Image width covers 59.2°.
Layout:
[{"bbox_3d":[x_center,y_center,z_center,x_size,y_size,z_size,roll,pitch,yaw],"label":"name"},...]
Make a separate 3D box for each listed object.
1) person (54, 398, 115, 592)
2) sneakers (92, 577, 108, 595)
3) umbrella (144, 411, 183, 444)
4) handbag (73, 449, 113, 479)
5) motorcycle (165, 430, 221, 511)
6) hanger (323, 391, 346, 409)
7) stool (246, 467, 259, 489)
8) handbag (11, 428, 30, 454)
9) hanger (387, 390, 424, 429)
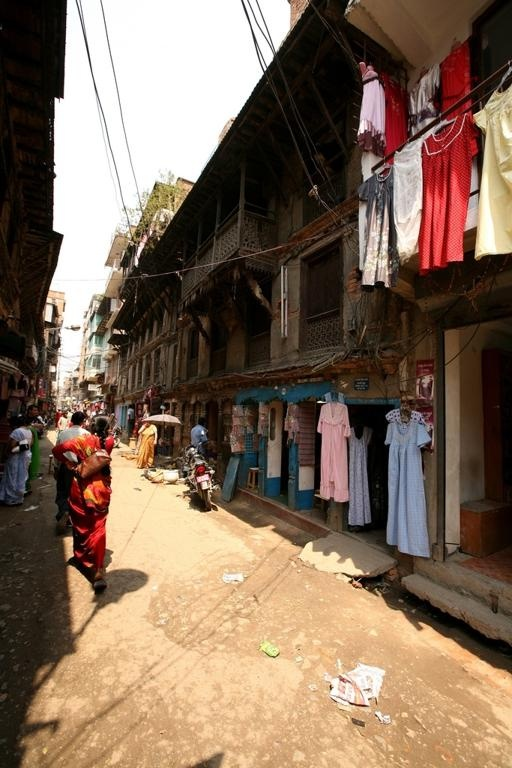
[{"bbox_3d":[-1.909,1.241,5.000,0.556,1.800,1.275,4,-1,-19],"label":"person"},{"bbox_3d":[-1.559,2.014,4.478,0.082,0.156,0.150,-8,-27,2],"label":"sneakers"},{"bbox_3d":[-2.622,1.088,13.087,1.060,0.392,1.136,1,-14,7],"label":"umbrella"},{"bbox_3d":[-1.766,0.859,4.822,0.267,0.188,0.104,-34,-10,-8],"label":"handbag"},{"bbox_3d":[-1.174,1.786,9.166,0.676,1.067,1.848,-17,-4,-4],"label":"motorcycle"},{"bbox_3d":[1.155,0.246,6.622,0.213,0.252,0.032,-13,-27,42],"label":"hanger"},{"bbox_3d":[-0.078,2.045,9.713,0.176,0.360,0.401,4,-1,-18],"label":"stool"},{"bbox_3d":[-3.913,0.963,7.465,0.188,0.370,0.359,-9,-7,21],"label":"handbag"},{"bbox_3d":[1.819,0.371,5.449,0.508,0.475,0.293,-6,-17,37],"label":"hanger"}]
